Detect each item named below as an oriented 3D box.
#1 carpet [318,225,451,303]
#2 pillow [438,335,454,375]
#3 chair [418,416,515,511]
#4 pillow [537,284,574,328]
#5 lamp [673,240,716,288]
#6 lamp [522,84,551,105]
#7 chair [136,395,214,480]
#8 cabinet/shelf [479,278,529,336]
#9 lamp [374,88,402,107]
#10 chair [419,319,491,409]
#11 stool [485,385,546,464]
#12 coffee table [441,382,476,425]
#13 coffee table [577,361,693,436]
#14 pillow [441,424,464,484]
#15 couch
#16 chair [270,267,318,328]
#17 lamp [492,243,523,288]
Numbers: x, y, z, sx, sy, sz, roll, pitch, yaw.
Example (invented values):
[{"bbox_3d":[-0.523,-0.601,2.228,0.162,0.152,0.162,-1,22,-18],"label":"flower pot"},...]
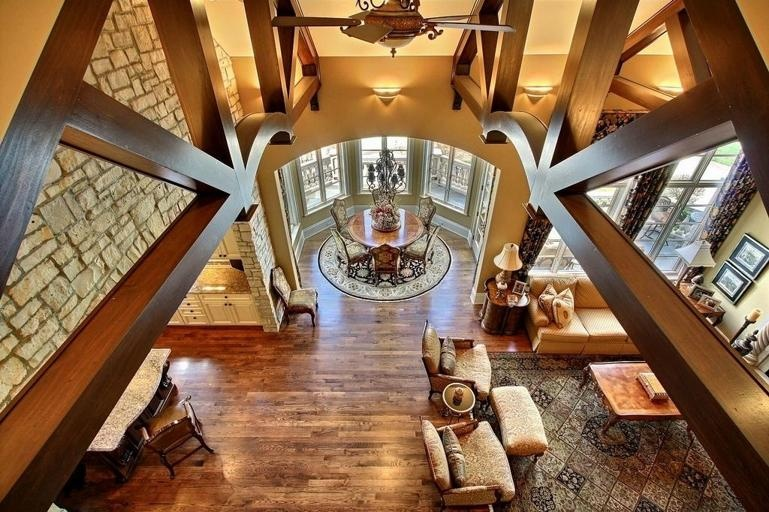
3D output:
[{"bbox_3d":[-0.014,0.276,8.241,2.753,0.396,1.905,3,39,3],"label":"carpet"},{"bbox_3d":[0.829,1.359,5.610,0.123,0.234,0.389,-10,39,16],"label":"pillow"},{"bbox_3d":[0.927,2.237,4.524,1.078,1.157,0.803,-13,56,-2],"label":"chair"},{"bbox_3d":[2.605,0.775,6.258,0.165,0.562,0.557,-14,15,41],"label":"pillow"},{"bbox_3d":[4.756,0.132,6.336,0.347,0.840,0.342,-25,46,-13],"label":"lamp"},{"bbox_3d":[1.969,-2.048,5.359,0.379,0.241,0.219,7,39,9],"label":"lamp"},{"bbox_3d":[-2.489,2.170,4.884,0.526,0.799,0.539,-28,70,-25],"label":"chair"},{"bbox_3d":[1.924,0.772,6.829,0.725,0.762,0.742,-2,41,-1],"label":"cabinet/shelf"},{"bbox_3d":[0.028,-2.114,5.595,0.361,0.277,0.249,2,39,1],"label":"lamp"},{"bbox_3d":[0.970,1.485,5.622,1.107,1.047,0.891,-2,64,8],"label":"chair"},{"bbox_3d":[1.557,2.126,5.123,0.658,0.460,0.873,-5,47,-1],"label":"stool"},{"bbox_3d":[0.893,1.815,5.261,0.438,0.448,0.432,-9,54,1],"label":"coffee table"},{"bbox_3d":[3.212,1.858,5.414,0.783,0.448,1.077,-7,18,11],"label":"coffee table"},{"bbox_3d":[0.744,2.138,4.439,0.200,0.186,0.597,-12,39,0],"label":"pillow"},{"bbox_3d":[3.319,0.934,6.552,1.852,0.995,1.118,1,30,12],"label":"couch"},{"bbox_3d":[-1.471,0.653,6.873,0.663,0.980,0.624,-1,39,-2],"label":"chair"},{"bbox_3d":[1.952,0.143,6.636,0.376,0.846,0.576,12,40,14],"label":"lamp"}]
